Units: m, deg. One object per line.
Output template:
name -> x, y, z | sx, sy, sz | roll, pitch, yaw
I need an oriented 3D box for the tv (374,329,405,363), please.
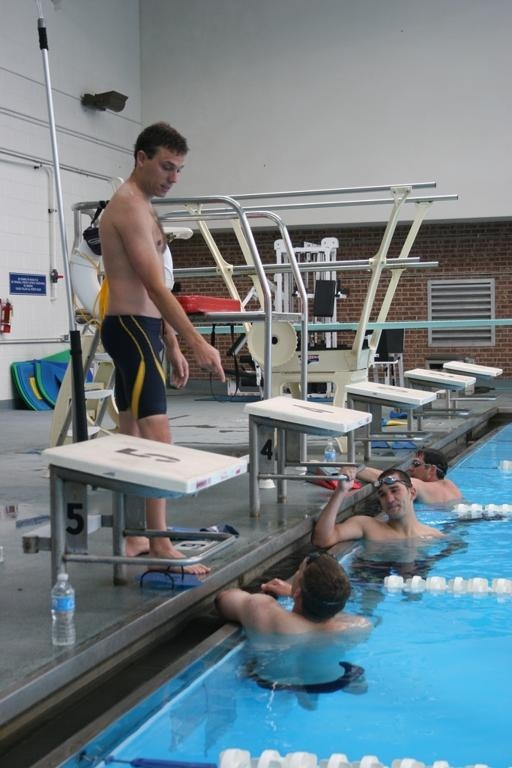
tv -> 2.028, -0.593, 11.026 | 0.301, 0.426, 0.745 | 8, 3, 18

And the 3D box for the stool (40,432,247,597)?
stool -> -0.292, 0.396, 2.109 | 0.531, 0.377, 0.452 | -5, -3, 33

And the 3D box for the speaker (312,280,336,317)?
speaker -> 0.870, -1.066, 9.041 | 0.277, 0.467, 0.110 | 2, -13, 11
